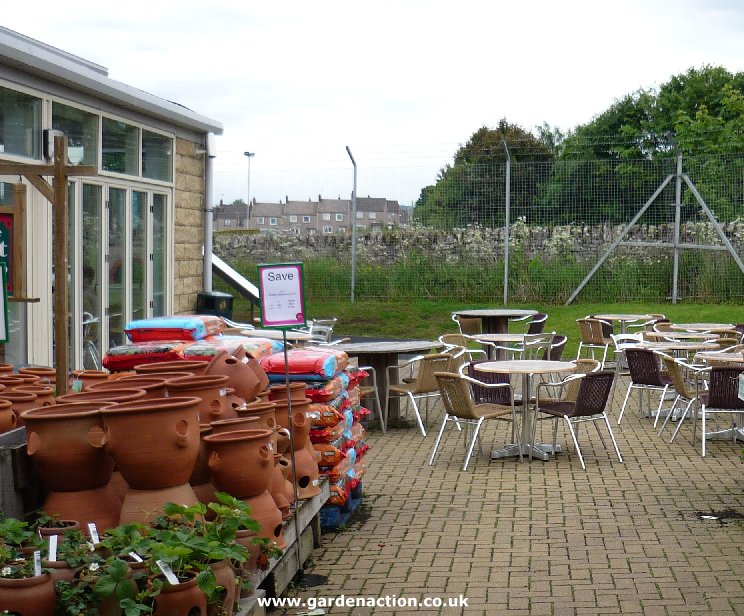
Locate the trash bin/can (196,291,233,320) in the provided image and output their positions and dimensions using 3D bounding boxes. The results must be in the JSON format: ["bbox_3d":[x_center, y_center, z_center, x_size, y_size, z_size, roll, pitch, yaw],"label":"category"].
[{"bbox_3d":[-2.040,-0.027,11.242,0.473,0.362,0.537,-4,4,-33],"label":"trash bin/can"}]
